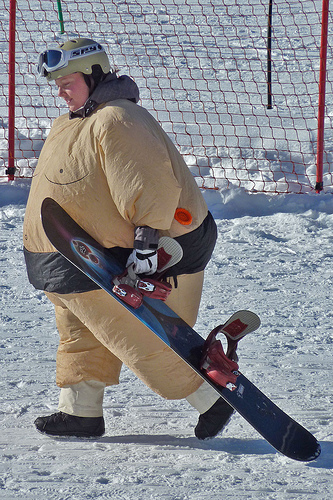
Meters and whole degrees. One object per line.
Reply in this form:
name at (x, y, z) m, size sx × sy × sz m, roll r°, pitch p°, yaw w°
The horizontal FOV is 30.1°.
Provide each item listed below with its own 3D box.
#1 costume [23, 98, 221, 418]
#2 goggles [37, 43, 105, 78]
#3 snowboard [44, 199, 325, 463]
costume at (-0.167, -0.034, 2.506) m, size 0.960 × 1.155 × 0.790 m, roll -23°, pitch 38°, yaw -39°
goggles at (-0.348, -0.704, 2.271) m, size 0.245 × 0.129 × 0.164 m, roll -1°, pitch 10°, yaw -7°
snowboard at (0.071, 0.366, 2.528) m, size 0.073 × 1.453 × 0.199 m, roll -37°, pitch 12°, yaw 41°
